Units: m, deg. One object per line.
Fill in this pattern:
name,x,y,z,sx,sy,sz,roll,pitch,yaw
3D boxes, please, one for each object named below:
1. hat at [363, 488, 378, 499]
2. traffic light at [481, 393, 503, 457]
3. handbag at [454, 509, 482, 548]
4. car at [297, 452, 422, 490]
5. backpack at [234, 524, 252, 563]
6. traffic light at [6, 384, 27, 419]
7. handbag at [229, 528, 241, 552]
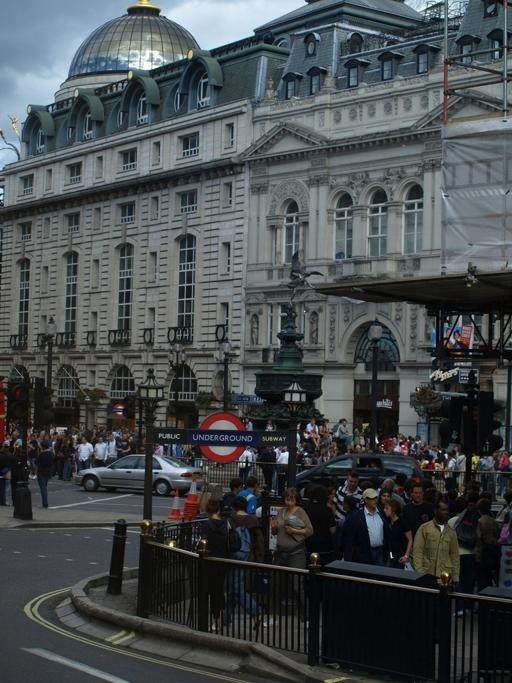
hat,1.408,1.886,14.420,0.125,0.092,0.168,-1,-10,-27
traffic light,3.609,1.277,18.120,0.325,0.976,0.863,-1,-5,12
handbag,2.704,2.414,15.072,0.474,0.465,0.326,-1,1,-32
car,2.167,2.672,24.465,2.513,1.055,1.277,2,-5,8
backpack,-0.156,2.424,13.980,0.214,0.401,0.291,6,24,5
traffic light,-5.057,1.279,25.127,0.429,0.750,0.592,1,-5,-12
handbag,-0.233,2.361,13.887,0.126,0.256,0.246,0,-5,2
